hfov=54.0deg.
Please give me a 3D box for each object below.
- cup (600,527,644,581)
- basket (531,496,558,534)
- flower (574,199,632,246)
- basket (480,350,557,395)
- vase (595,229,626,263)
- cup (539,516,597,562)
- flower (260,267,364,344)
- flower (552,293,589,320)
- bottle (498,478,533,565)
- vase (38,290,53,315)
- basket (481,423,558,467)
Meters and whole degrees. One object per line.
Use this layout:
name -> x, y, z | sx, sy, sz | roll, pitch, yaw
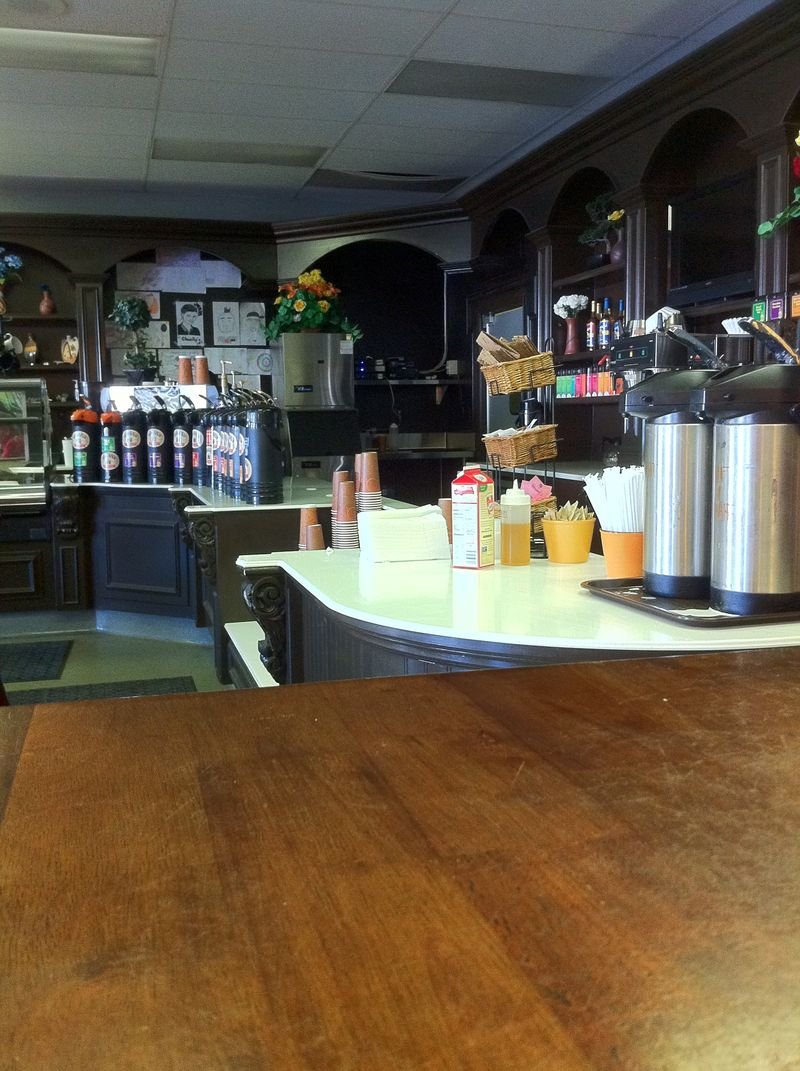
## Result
cup -> 0.461, 0.047, 1.664 | 0.096, 0.077, 0.088 | 0, 5, 0
basket -> 0.390, -0.055, 2.117 | 0.077, 0.077, 0.106 | 2, 11, 20
flower -> 1.404, -2.184, 5.423 | 0.271, 0.257, 0.556 | 1, 3, 13
basket -> 0.380, -0.505, 2.471 | 0.199, 0.087, 0.146 | -20, 3, -28
vase -> 1.464, -2.020, 5.515 | 0.181, 0.210, 0.225 | -4, 7, -35
cup -> 0.414, 0.013, 1.935 | 0.118, 0.112, 0.104 | 1, 3, 11
flower -> -0.780, -2.020, 6.978 | 0.755, 0.495, 0.749 | 10, 18, 27
flower -> 1.309, -1.748, 5.960 | 0.277, 0.201, 0.386 | 1, 3, 13
bottle -> 0.278, -0.029, 1.909 | 0.066, 0.199, 0.154 | 1, 3, 6
vase -> -3.432, -2.259, 7.626 | 0.132, 0.292, 0.205 | -1, 3, -24
basket -> 0.397, -0.291, 2.411 | 0.200, 0.089, 0.144 | -12, 7, -34
